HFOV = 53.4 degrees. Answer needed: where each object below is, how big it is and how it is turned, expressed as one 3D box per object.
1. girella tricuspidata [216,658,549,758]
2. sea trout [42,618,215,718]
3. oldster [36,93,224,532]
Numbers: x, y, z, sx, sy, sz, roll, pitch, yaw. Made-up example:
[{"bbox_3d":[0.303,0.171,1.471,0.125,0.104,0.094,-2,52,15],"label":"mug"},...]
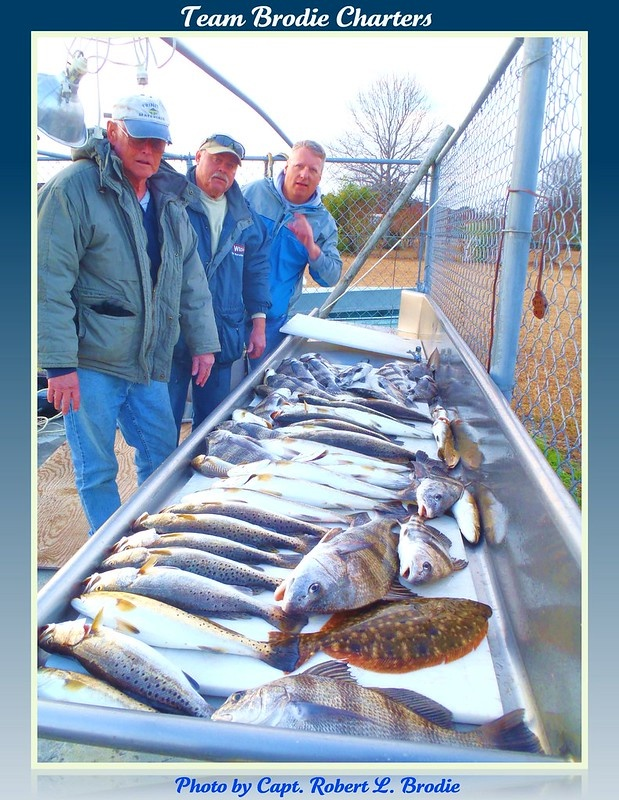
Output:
[{"bbox_3d":[0.130,0.576,1.117,0.579,0.065,0.186,8,19,11],"label":"girella tricuspidata"},{"bbox_3d":[-0.346,0.518,1.228,0.392,0.119,0.106,14,65,21],"label":"sea trout"},{"bbox_3d":[-0.980,-0.251,3.341,1.020,2.407,0.788,-14,25,-39],"label":"oldster"}]
